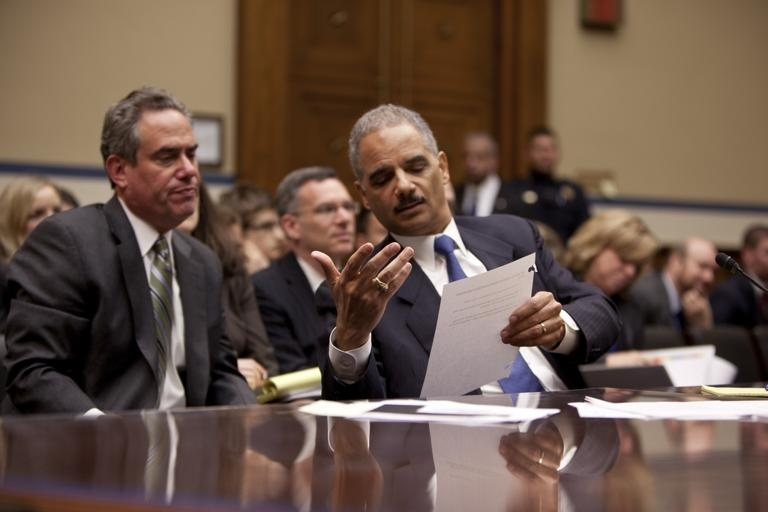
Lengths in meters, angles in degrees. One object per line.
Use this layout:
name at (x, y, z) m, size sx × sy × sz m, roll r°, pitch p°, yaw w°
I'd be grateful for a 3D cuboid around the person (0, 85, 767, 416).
person at (-0.036, 0.017, 2.487) m, size 2.081 × 1.236 × 1.064 m, roll -13°, pitch -6°, yaw 18°
